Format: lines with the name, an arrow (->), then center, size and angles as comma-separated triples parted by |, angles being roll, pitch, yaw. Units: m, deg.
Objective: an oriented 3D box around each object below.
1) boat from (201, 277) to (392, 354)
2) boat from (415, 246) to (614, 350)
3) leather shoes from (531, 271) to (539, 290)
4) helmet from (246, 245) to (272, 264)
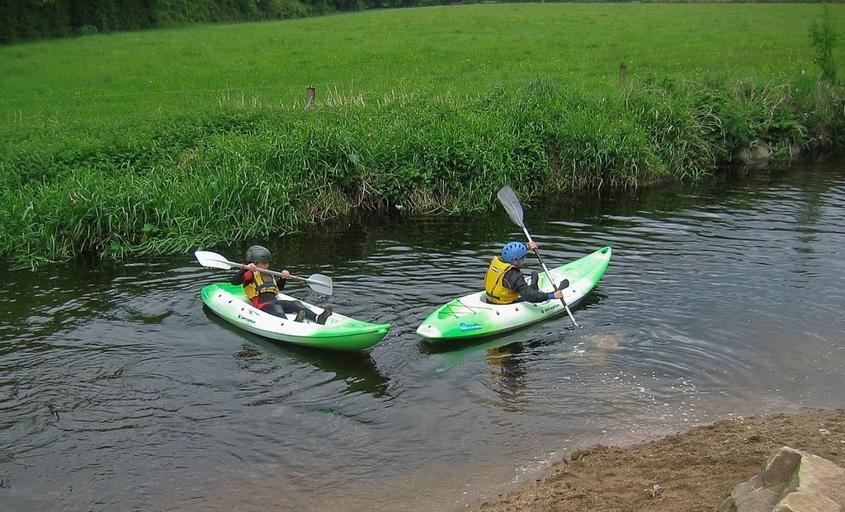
boat -> -2.784, 1.409, 17.921 | 4.792, 0.689, 1.404 | 12, 22, 15
boat -> 2.431, 1.140, 18.581 | 5.411, 0.737, 1.559 | -16, 31, -21
leather shoes -> 2.506, 0.565, 18.308 | 0.264, 0.343, 0.093 | -1, -13, 24
helmet -> -3.726, -0.015, 18.429 | 0.676, 0.273, 0.419 | -2, 4, 1
